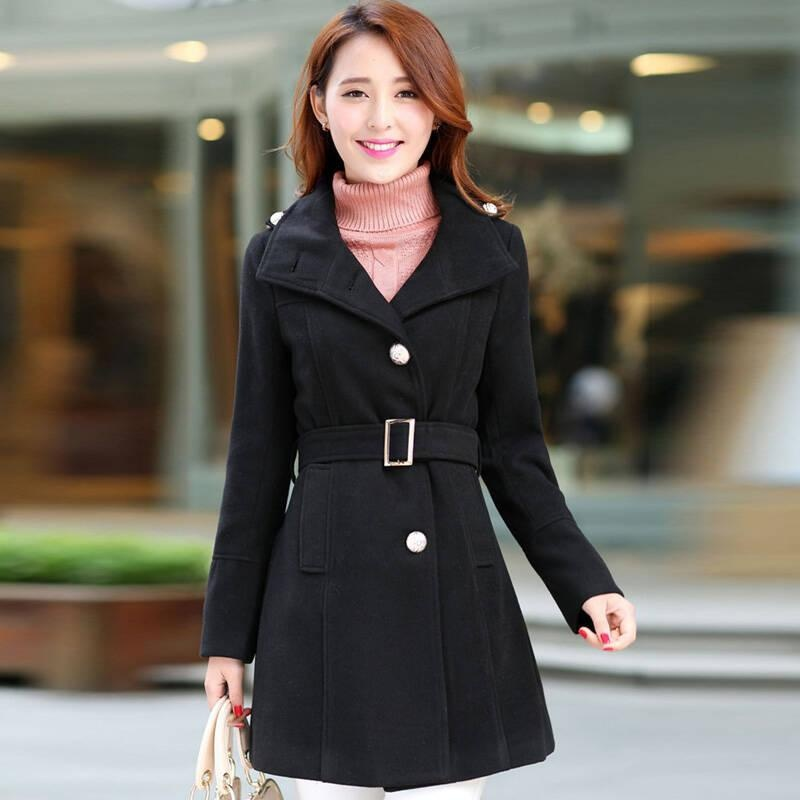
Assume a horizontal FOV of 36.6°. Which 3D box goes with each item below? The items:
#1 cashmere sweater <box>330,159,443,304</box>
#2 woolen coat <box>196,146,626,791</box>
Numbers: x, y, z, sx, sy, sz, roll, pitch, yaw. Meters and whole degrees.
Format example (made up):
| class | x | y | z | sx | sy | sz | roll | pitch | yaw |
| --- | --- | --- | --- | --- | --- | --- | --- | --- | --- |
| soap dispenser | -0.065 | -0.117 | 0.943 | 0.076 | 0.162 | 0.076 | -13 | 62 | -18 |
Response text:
| class | x | y | z | sx | sy | sz | roll | pitch | yaw |
| --- | --- | --- | --- | --- | --- | --- | --- | --- | --- |
| cashmere sweater | -0.073 | -0.382 | 2.911 | 0.300 | 0.303 | 0.337 | -6 | -14 | -7 |
| woolen coat | -0.012 | 0.156 | 2.746 | 0.889 | 1.295 | 0.562 | -1 | 10 | -8 |
